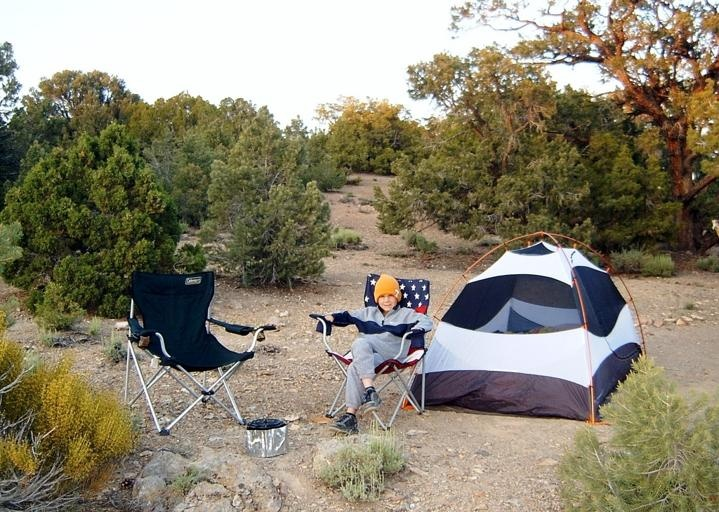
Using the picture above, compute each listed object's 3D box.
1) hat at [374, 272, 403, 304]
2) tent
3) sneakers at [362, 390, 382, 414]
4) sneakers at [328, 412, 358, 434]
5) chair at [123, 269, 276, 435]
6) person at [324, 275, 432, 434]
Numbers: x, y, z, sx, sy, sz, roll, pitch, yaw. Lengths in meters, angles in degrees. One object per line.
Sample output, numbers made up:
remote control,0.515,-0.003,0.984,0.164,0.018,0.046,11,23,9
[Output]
hat,0.328,0.378,7.881,0.232,0.310,0.335,-2,8,1
tent,2.391,0.784,8.631,2.021,2.074,2.820,-1,-1,32
sneakers,0.114,1.569,6.957,0.180,0.286,0.244,1,9,0
sneakers,-0.155,1.783,6.889,0.139,0.185,0.357,-6,-21,45
chair,-2.074,1.016,7.548,1.261,1.565,1.719,-5,11,-33
person,0.178,1.066,7.445,1.060,1.521,1.492,9,13,42
